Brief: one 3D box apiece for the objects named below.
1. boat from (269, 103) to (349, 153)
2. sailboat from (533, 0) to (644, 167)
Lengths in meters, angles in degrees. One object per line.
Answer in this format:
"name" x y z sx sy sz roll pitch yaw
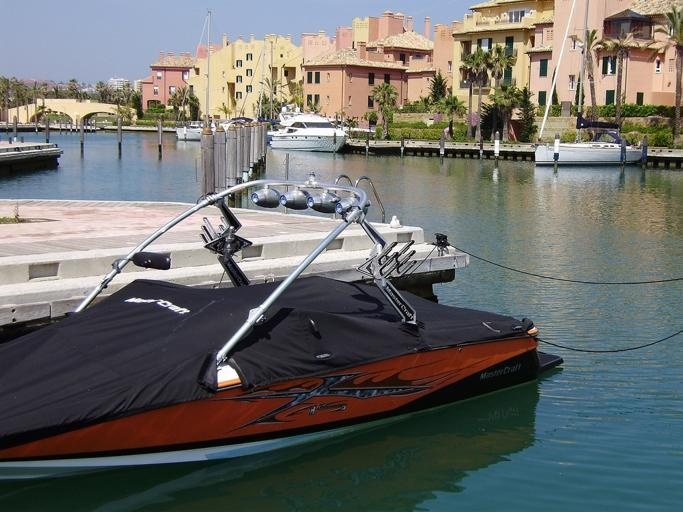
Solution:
"boat" -2.114 -12.960 64.407 4.279 2.673 7.197 -17 22 -35
"sailboat" 16.135 -15.350 51.315 6.602 14.968 16.214 5 14 13
